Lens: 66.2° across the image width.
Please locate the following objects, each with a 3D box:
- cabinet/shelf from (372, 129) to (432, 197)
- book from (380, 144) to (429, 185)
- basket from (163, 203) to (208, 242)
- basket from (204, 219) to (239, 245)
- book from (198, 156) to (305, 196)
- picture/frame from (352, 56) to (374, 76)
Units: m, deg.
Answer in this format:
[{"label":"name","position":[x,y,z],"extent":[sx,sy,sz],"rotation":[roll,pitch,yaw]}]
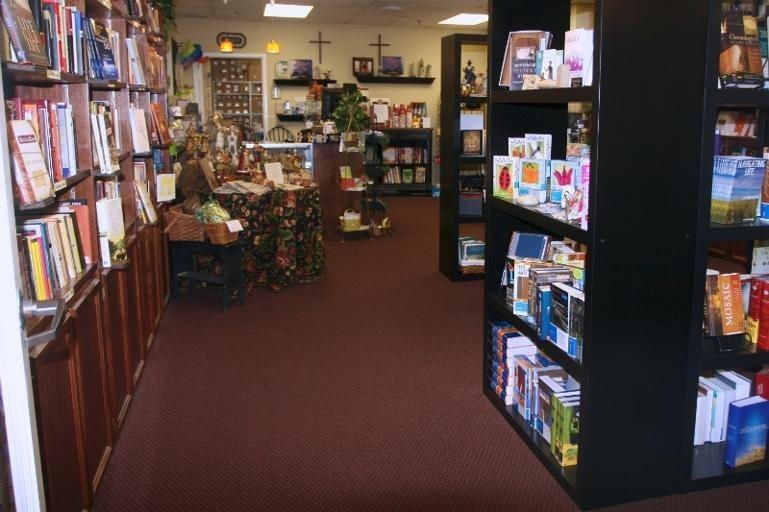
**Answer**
[{"label":"cabinet/shelf","position":[0.344,-1.885,11.889],"extent":[1.451,1.616,0.611],"rotation":[-2,13,-8]},{"label":"book","position":[0.393,-1.911,12.339],"extent":[0.994,0.897,0.331],"rotation":[-1,7,-5]},{"label":"basket","position":[-1.946,-0.346,5.755],"extent":[0.280,0.265,0.380],"rotation":[-1,23,-11]},{"label":"basket","position":[-1.504,-0.226,5.543],"extent":[0.215,0.198,0.297],"rotation":[3,9,31]},{"label":"book","position":[-1.479,-0.800,6.380],"extent":[0.725,0.247,0.553],"rotation":[-6,24,-6]},{"label":"picture/frame","position":[-0.476,-4.102,12.724],"extent":[0.435,0.386,0.047],"rotation":[-2,16,-11]}]
